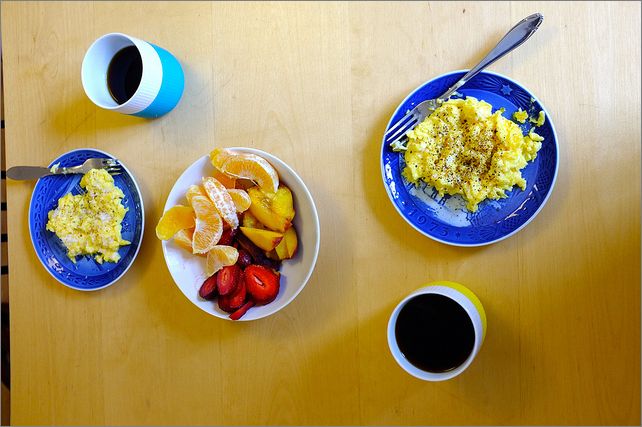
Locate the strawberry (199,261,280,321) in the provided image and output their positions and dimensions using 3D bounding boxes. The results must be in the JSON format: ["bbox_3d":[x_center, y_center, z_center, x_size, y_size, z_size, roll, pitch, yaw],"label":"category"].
[{"bbox_3d":[-0.269,0.246,2.204,0.173,0.056,0.223,9,-91,16],"label":"strawberry"}]

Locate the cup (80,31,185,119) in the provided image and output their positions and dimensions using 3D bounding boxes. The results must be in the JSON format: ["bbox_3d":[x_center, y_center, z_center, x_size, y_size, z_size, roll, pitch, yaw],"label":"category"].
[{"bbox_3d":[-0.619,-0.439,2.316,0.275,0.226,0.254,1,-80,6],"label":"cup"}]

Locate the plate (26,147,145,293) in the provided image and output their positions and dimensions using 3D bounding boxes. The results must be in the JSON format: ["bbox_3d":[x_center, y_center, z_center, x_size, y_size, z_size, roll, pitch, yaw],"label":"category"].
[{"bbox_3d":[-0.851,0.009,2.326,0.366,0.074,0.504,5,-86,4],"label":"plate"}]

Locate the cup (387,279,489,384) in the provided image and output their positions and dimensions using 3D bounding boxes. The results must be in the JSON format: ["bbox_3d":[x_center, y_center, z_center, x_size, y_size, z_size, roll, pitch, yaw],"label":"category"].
[{"bbox_3d":[0.359,0.380,2.195,0.251,0.219,0.337,2,-82,13],"label":"cup"}]

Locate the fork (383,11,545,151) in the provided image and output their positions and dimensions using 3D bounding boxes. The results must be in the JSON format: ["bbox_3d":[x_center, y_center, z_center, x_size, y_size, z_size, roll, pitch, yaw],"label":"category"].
[{"bbox_3d":[0.483,-0.420,2.226,0.077,0.050,0.571,44,-81,4],"label":"fork"}]
